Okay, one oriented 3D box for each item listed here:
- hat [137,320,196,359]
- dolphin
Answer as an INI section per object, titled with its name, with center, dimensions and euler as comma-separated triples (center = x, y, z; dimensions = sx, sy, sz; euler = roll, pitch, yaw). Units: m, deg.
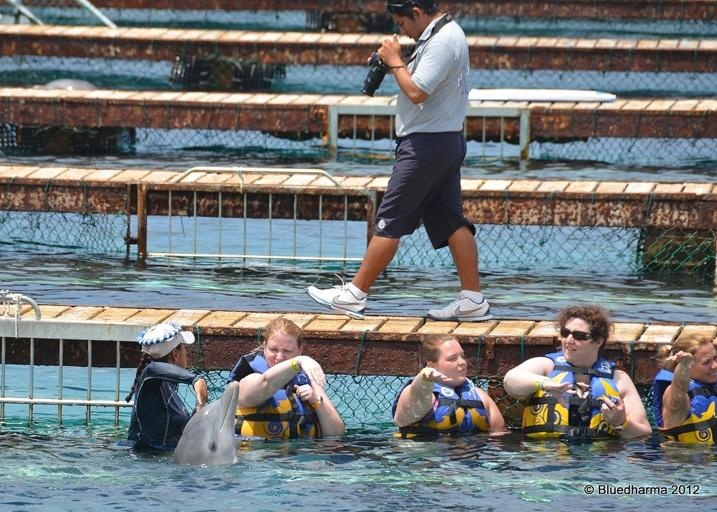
[hat]
center = -1.871, 0.833, 15.800
dimensions = 0.528, 0.355, 0.220
euler = -2, -5, -7
[dolphin]
center = -1.459, 1.624, 15.570
dimensions = 0.610, 0.775, 0.291
euler = -2, -5, -9
